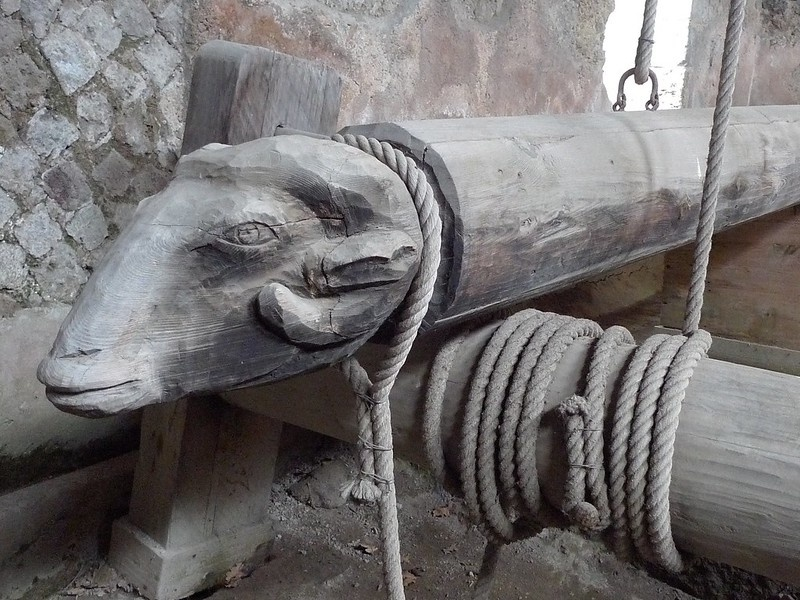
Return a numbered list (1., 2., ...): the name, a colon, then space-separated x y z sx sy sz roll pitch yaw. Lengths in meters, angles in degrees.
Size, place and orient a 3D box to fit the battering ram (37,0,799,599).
1. battering ram: 0.083 0.003 1.558 1.491 1.118 1.035 -13 17 -32
